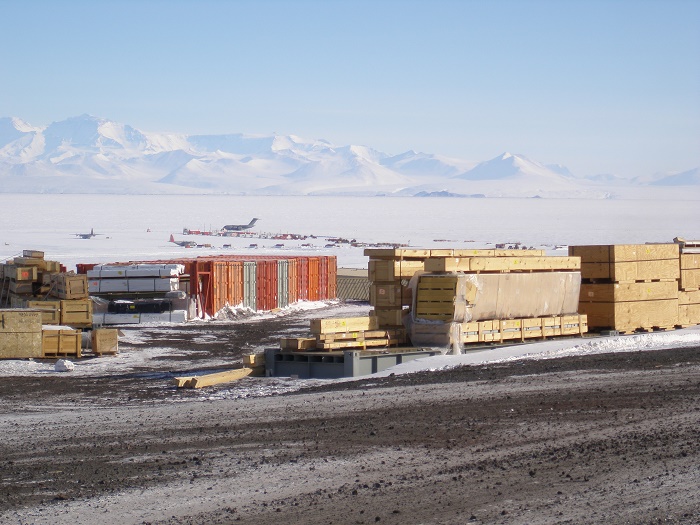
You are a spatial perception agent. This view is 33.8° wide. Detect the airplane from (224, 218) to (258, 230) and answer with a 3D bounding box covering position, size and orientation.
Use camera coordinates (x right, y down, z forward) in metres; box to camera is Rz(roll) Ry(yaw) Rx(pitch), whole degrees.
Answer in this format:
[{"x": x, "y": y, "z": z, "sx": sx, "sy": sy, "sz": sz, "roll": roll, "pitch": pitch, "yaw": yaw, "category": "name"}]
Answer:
[{"x": -21.064, "y": -6.755, "z": 217.402, "sx": 8.503, "sy": 2.823, "sz": 3.062, "roll": 4, "pitch": 5, "yaw": 36, "category": "airplane"}]
